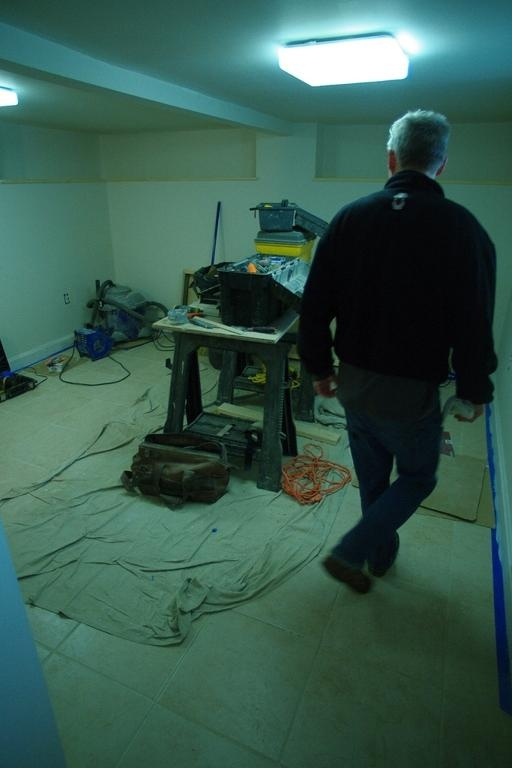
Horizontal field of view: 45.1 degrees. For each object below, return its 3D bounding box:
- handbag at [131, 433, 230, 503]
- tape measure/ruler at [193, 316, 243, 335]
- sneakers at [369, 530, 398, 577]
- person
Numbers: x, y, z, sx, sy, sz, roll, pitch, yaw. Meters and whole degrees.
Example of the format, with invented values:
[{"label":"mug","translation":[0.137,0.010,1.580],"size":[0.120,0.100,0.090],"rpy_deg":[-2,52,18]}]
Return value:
[{"label":"handbag","translation":[-0.403,0.434,3.072],"size":[0.510,0.281,0.270],"rpy_deg":[5,15,15]},{"label":"tape measure/ruler","translation":[-0.194,-0.296,3.210],"size":[0.221,0.024,0.048],"rpy_deg":[27,18,38]},{"label":"sneakers","translation":[0.518,0.703,2.476],"size":[0.083,0.220,0.091],"rpy_deg":[9,-5,15]},{"label":"person","translation":[0.439,0.037,2.020],"size":[0.599,1.727,0.359],"rpy_deg":[14,20,39]}]
